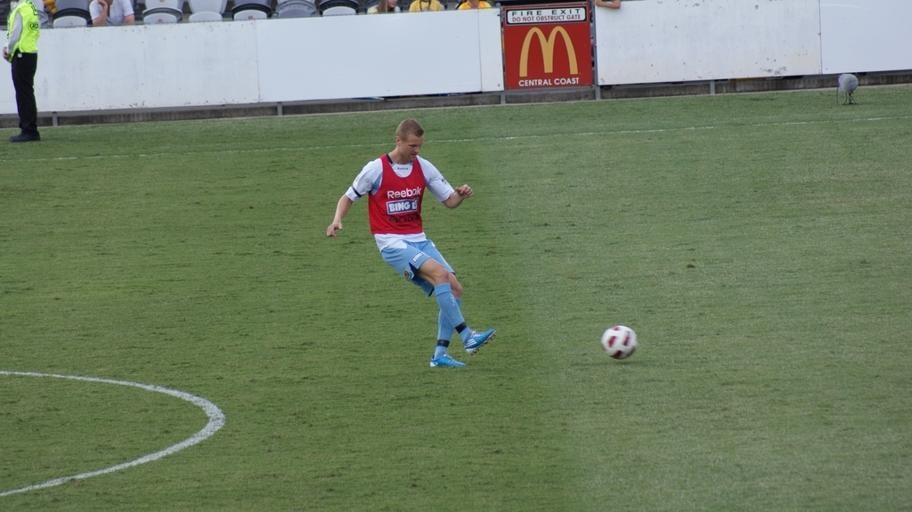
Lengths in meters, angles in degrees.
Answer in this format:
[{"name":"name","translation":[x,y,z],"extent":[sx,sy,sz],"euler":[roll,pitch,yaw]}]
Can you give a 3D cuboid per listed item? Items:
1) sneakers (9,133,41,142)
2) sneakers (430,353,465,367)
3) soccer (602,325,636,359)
[{"name":"sneakers","translation":[-8.985,-2.454,38.759],"extent":[0.622,0.235,0.210],"euler":[3,6,-17]},{"name":"sneakers","translation":[-0.160,1.715,30.438],"extent":[0.604,0.245,0.214],"euler":[1,2,-1]},{"name":"soccer","translation":[2.653,1.405,30.490],"extent":[0.563,0.506,0.536],"euler":[2,2,7]}]
